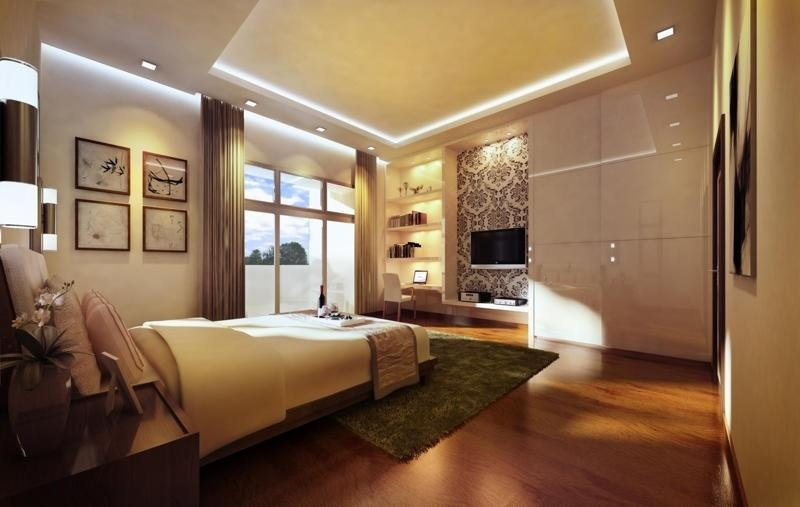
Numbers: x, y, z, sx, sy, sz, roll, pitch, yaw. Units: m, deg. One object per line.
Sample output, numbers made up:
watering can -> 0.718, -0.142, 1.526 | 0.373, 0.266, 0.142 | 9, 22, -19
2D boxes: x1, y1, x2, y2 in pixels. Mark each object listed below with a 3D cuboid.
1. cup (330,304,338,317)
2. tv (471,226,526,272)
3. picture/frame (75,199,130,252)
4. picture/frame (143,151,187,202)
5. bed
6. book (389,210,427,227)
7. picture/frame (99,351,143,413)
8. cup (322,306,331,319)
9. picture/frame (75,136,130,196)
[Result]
cup -> -0.699, 0.606, 5.109 | 0.086, 0.097, 0.087 | -1, 0, 0
tv -> 1.541, -0.057, 7.427 | 0.178, 0.602, 1.032 | -1, -1, -40
picture/frame -> -3.501, -0.323, 5.509 | 0.616, 0.719, 0.027 | 1, -4, -43
picture/frame -> -2.982, -0.947, 5.934 | 0.055, 0.804, 0.662 | -4, -3, 42
bed -> -1.566, 0.634, 3.926 | 2.455, 1.265, 1.551 | -1, 2, -40
book -> 0.154, -0.597, 8.574 | 0.778, 0.238, 0.317 | -2, -1, 36
picture/frame -> -1.826, 0.844, 3.076 | 0.124, 0.317, 0.323 | -23, 17, -37
cup -> -0.781, 0.616, 5.053 | 0.085, 0.083, 0.086 | 0, -4, 0
picture/frame -> -3.511, -1.011, 5.530 | 0.727, 0.872, 0.058 | 1, -4, -44
